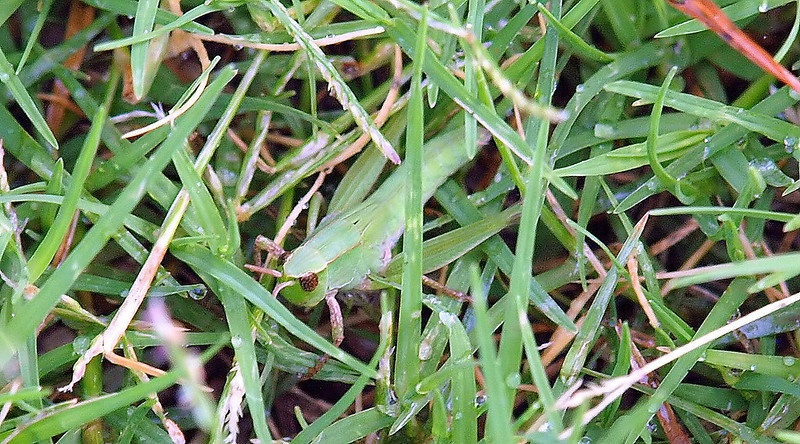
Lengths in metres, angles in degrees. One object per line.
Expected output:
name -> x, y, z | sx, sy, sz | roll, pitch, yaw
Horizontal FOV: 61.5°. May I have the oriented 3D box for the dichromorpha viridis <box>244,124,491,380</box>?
dichromorpha viridis -> -0.014, 0.017, 0.885 | 0.341, 0.121, 0.235 | -40, 53, -22
